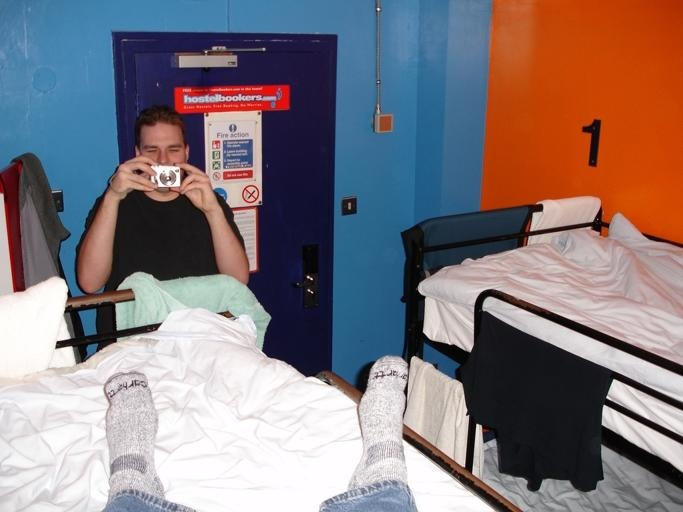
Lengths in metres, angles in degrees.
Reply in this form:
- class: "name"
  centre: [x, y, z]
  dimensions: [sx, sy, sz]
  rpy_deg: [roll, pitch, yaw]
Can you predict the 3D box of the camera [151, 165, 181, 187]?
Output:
- class: "camera"
  centre: [-0.807, -0.364, 2.535]
  dimensions: [0.112, 0.089, 0.042]
  rpy_deg: [-1, 9, -17]
